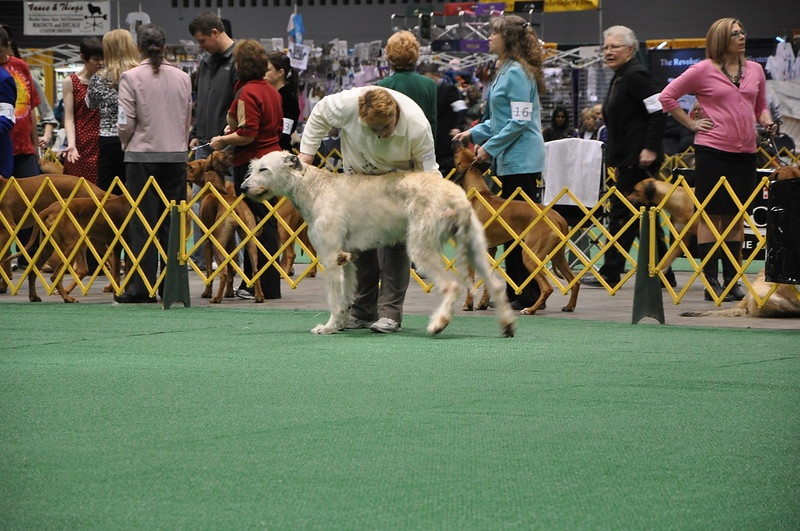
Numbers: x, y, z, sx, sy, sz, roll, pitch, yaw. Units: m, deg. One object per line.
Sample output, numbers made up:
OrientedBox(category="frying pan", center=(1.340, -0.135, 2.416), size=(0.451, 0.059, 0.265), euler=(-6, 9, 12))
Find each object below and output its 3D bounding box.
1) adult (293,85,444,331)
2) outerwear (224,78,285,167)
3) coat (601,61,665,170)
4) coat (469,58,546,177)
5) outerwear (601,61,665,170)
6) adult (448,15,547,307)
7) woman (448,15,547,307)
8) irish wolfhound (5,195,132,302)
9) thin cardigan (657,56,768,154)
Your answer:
OrientedBox(category="adult", center=(-0.254, -0.441, 6.151), size=(1.101, 2.040, 0.793), euler=(1, 21, -3))
OrientedBox(category="outerwear", center=(-1.388, -1.392, 7.780), size=(0.441, 0.815, 0.727), euler=(5, 17, 9))
OrientedBox(category="coat", center=(2.264, -1.495, 7.893), size=(0.637, 1.052, 0.400), euler=(4, 9, 29))
OrientedBox(category="coat", center=(0.997, -1.377, 7.415), size=(0.650, 1.053, 0.763), euler=(-4, 11, -4))
OrientedBox(category="outerwear", center=(2.263, -1.495, 7.890), size=(0.636, 1.052, 0.397), euler=(4, 9, 29))
OrientedBox(category="adult", center=(0.982, -1.026, 7.518), size=(0.857, 2.437, 0.740), euler=(-11, 18, -13))
OrientedBox(category="woman", center=(0.976, -1.025, 7.501), size=(0.838, 2.431, 0.744), euler=(-12, 19, -15))
OrientedBox(category="irish wolfhound", center=(-3.310, -0.196, 8.271), size=(0.942, 1.077, 1.255), euler=(-4, 9, -25))
OrientedBox(category="thin cardigan", center=(2.897, -1.475, 7.494), size=(0.858, 0.845, 0.279), euler=(1, 8, 10))
